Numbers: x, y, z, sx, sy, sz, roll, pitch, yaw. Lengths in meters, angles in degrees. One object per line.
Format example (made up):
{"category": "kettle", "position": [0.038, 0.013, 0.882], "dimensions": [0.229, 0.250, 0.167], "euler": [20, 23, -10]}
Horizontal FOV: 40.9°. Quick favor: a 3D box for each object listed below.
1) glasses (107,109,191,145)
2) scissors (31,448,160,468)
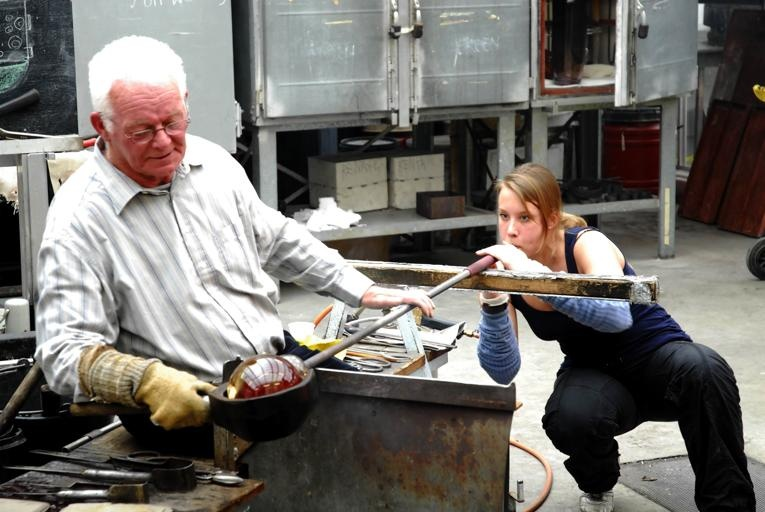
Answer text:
{"category": "glasses", "position": [-0.945, -0.531, 4.267], "dimensions": [0.274, 0.125, 0.085], "euler": [-1, 11, -17]}
{"category": "scissors", "position": [-1.137, 0.809, 4.093], "dimensions": [0.564, 0.045, 0.093], "euler": [3, 10, 5]}
